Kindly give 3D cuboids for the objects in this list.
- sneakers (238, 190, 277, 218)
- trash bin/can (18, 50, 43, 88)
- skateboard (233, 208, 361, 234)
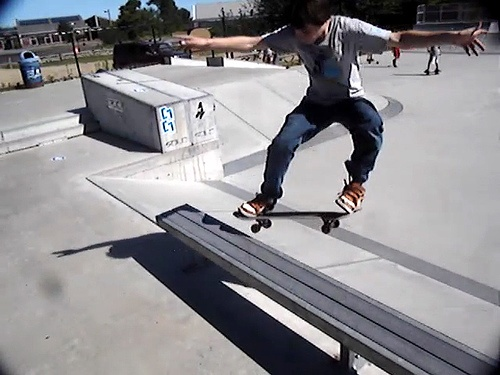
[{"bbox_3d":[0.072,0.165,3.879,0.462,0.201,0.165,-19,62,-28],"label":"sneakers"},{"bbox_3d":[-5.975,-3.210,10.717,0.476,0.964,0.748,-13,22,-27],"label":"trash bin/can"},{"bbox_3d":[0.418,0.371,3.974,1.481,0.266,0.373,-1,21,6],"label":"skateboard"}]
